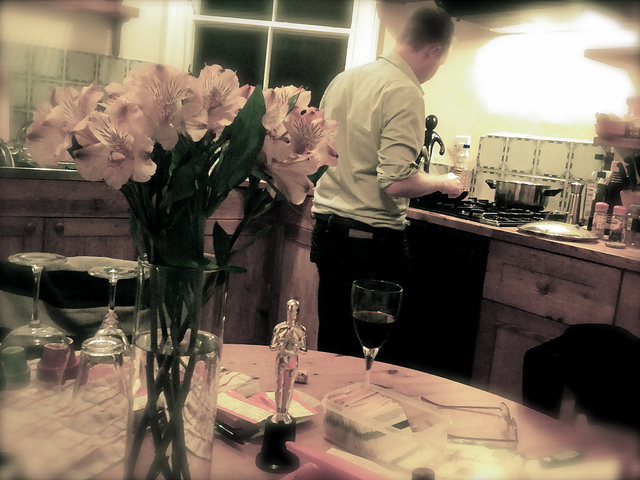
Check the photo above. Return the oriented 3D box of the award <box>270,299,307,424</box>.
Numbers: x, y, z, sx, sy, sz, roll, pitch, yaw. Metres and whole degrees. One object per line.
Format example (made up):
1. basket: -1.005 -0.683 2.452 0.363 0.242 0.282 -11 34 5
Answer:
1. award: -0.053 0.190 0.818 0.054 0.207 0.160 6 9 -3

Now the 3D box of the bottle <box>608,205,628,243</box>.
1. bottle: 1.210 -0.051 2.056 0.067 0.176 0.067 1 9 0

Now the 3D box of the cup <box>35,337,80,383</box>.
1. cup: -0.452 0.212 0.870 0.078 0.075 0.078 4 4 0

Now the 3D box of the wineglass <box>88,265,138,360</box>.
1. wineglass: -0.398 0.141 0.958 0.088 0.158 0.096 -1 -7 20

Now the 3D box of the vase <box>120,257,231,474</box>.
1. vase: -0.196 0.181 0.670 0.125 0.299 0.098 4 9 -14

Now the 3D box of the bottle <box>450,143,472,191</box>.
1. bottle: 0.806 -0.410 2.938 0.135 0.347 0.119 5 -9 0
